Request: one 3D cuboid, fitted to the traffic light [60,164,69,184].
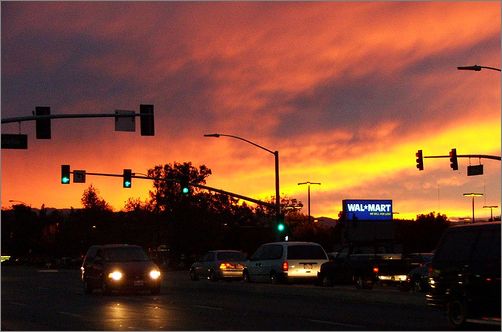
[{"bbox_3d":[-12.641,0.568,49.885,0.532,1.252,0.455,6,-10,-29],"label":"traffic light"}]

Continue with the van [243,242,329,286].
[{"bbox_3d":[1.757,5.348,41.090,5.578,2.443,3.939,-2,-10,20],"label":"van"}]

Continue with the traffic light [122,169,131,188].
[{"bbox_3d":[-8.836,0.902,52.134,0.604,1.183,0.363,6,-10,-30],"label":"traffic light"}]
